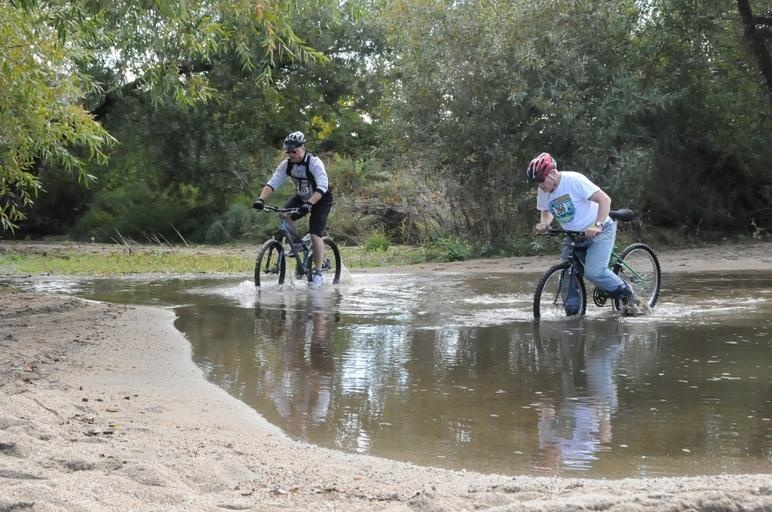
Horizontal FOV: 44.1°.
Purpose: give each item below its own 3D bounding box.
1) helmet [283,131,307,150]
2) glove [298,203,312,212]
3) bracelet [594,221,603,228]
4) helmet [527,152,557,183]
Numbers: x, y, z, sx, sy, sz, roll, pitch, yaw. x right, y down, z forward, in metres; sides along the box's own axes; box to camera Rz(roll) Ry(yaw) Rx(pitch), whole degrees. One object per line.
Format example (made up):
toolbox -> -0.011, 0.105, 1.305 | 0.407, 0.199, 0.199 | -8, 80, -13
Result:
helmet -> -1.871, -2.358, 19.656 | 0.379, 0.391, 0.426 | -2, 0, -7
glove -> -1.661, -0.989, 19.612 | 0.160, 0.122, 0.362 | 3, -3, -17
bracelet -> 3.559, -0.526, 15.983 | 0.104, 0.101, 0.034 | -5, -13, 1
helmet -> 2.668, -1.535, 16.223 | 0.397, 0.336, 0.581 | 12, 41, 42
